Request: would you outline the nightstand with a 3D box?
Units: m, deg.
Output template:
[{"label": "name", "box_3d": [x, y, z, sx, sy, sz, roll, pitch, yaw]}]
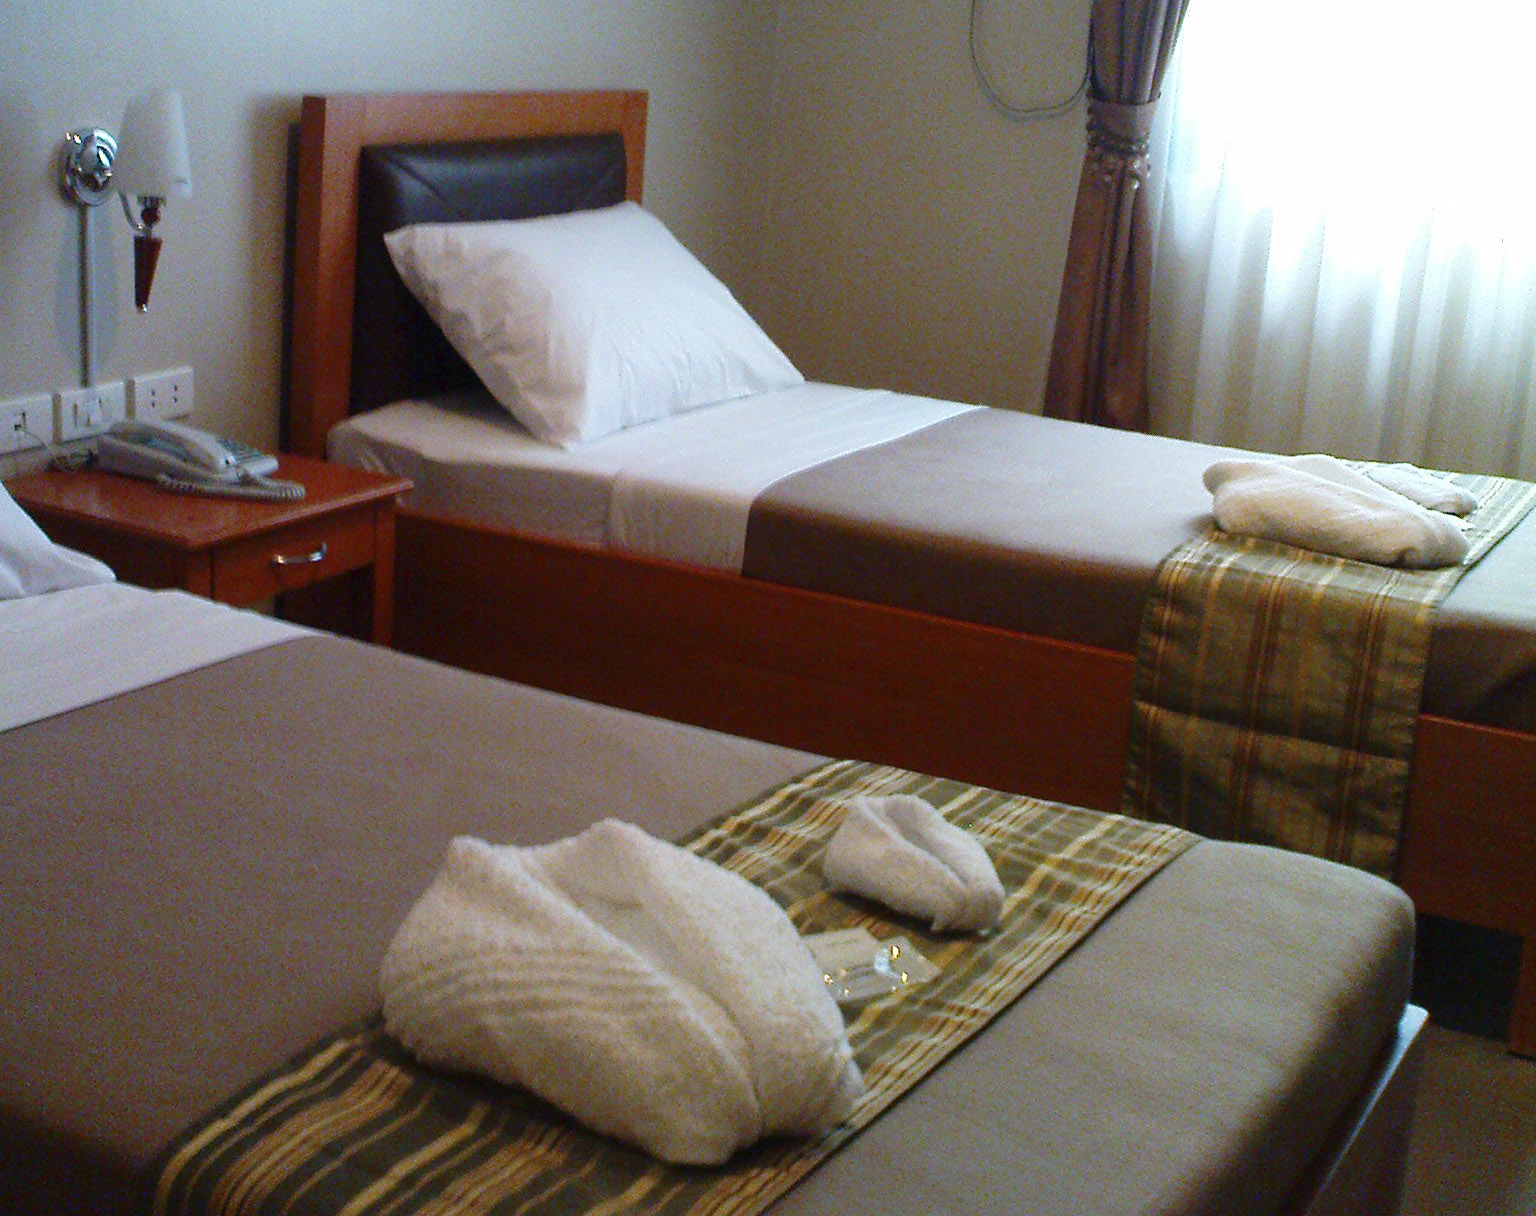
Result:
[{"label": "nightstand", "box_3d": [-1.111, -0.240, 2.504, 0.406, 0.440, 0.429, 18, 28, 26]}]

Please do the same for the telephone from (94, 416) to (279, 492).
[{"label": "telephone", "box_3d": [-1.177, -0.308, 2.544, 0.277, 0.101, 0.216, 13, 23, 17]}]

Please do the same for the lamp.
[{"label": "lamp", "box_3d": [-1.296, -0.733, 2.523, 0.243, 0.574, 0.265, -9, 22, -29]}]
